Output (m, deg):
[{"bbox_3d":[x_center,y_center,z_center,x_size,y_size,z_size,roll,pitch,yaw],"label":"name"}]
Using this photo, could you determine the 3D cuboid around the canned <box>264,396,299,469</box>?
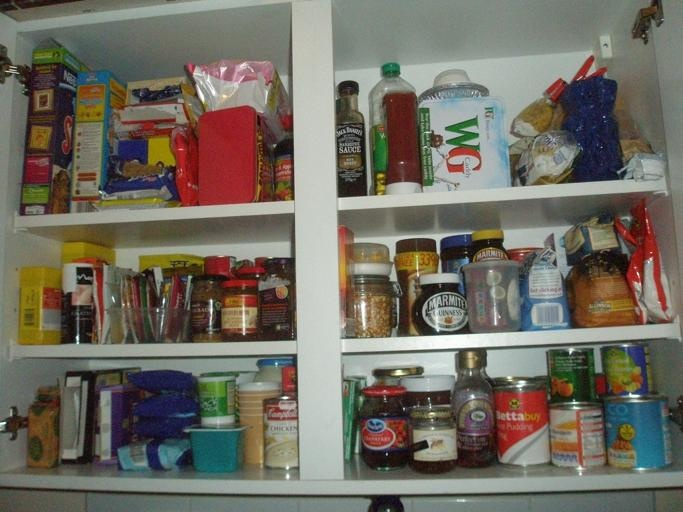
[{"bbox_3d":[-0.143,0.434,1.506,0.118,0.173,0.048,-8,-12,28],"label":"canned"}]

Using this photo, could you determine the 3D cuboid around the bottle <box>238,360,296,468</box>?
[{"bbox_3d":[-0.170,0.394,1.579,0.220,0.233,0.222,-1,-4,11],"label":"bottle"}]

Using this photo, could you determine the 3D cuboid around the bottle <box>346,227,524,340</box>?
[{"bbox_3d":[0.192,0.071,1.593,0.399,0.273,0.230,-2,-10,-1],"label":"bottle"}]

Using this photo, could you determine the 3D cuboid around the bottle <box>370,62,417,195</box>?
[{"bbox_3d":[0.130,-0.325,1.619,0.152,0.369,0.135,-6,-11,17],"label":"bottle"}]

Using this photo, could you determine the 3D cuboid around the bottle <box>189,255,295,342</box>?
[{"bbox_3d":[-0.250,0.114,1.547,0.208,0.149,0.080,-2,-20,3],"label":"bottle"}]

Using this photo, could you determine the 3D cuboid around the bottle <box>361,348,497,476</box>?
[{"bbox_3d":[0.200,0.403,1.577,0.349,0.363,0.201,-3,-4,9],"label":"bottle"}]

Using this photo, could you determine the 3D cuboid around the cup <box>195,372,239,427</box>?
[{"bbox_3d":[-0.317,0.380,1.634,0.116,0.131,0.116,-1,-7,0],"label":"cup"}]

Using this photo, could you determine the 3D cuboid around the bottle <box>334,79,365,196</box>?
[{"bbox_3d":[0.022,-0.297,1.611,0.076,0.331,0.134,-2,-11,0],"label":"bottle"}]
